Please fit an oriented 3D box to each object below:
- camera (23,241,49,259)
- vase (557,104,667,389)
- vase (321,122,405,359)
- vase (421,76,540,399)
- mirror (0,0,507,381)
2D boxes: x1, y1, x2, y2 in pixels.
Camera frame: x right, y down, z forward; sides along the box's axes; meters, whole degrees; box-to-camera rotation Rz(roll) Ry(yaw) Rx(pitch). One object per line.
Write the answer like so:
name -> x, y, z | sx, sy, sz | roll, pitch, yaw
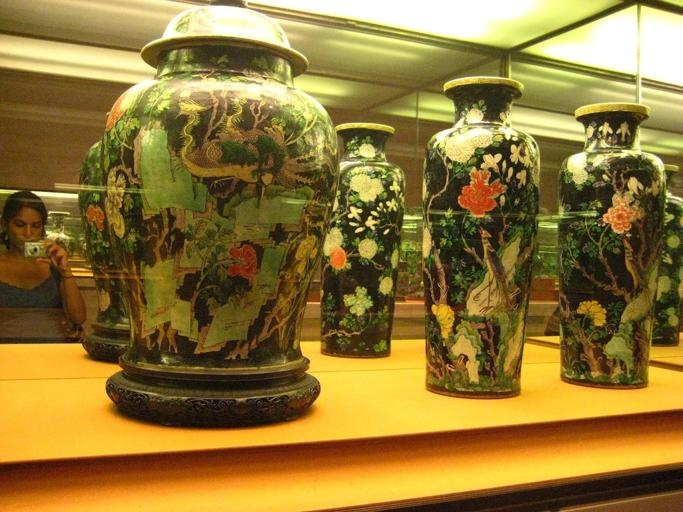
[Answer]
camera -> -0.802, -0.017, 1.580 | 0.070, 0.043, 0.037 | 1, 0, -34
vase -> 0.836, -0.042, 1.903 | 0.306, 0.875, 0.221 | 4, 7, 23
vase -> 0.072, -0.050, 2.115 | 0.287, 0.791, 0.126 | 2, 6, 5
vase -> 0.379, -0.055, 1.680 | 0.307, 0.873, 0.197 | 2, 6, 7
mirror -> -0.236, -0.048, 2.544 | 0.994, 1.349, 0.840 | -6, -35, 9
